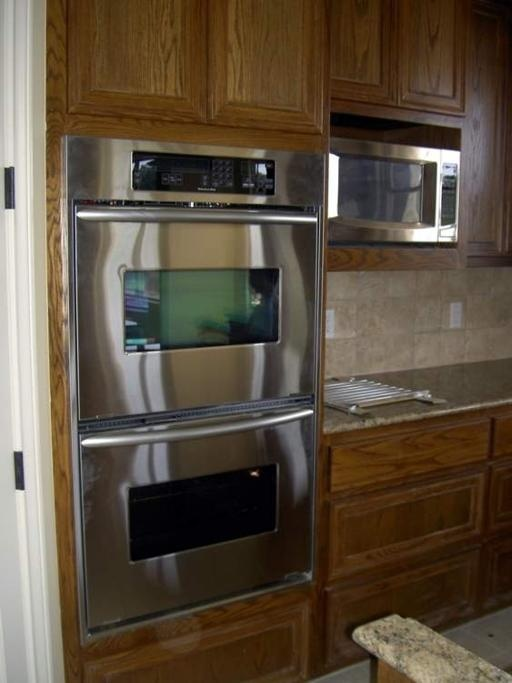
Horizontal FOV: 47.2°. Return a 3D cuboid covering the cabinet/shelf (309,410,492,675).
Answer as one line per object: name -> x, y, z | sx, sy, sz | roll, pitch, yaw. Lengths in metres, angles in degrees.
cabinet/shelf -> 0.652, 0.504, 2.405 | 0.503, 0.999, 0.730 | -11, 27, 8
